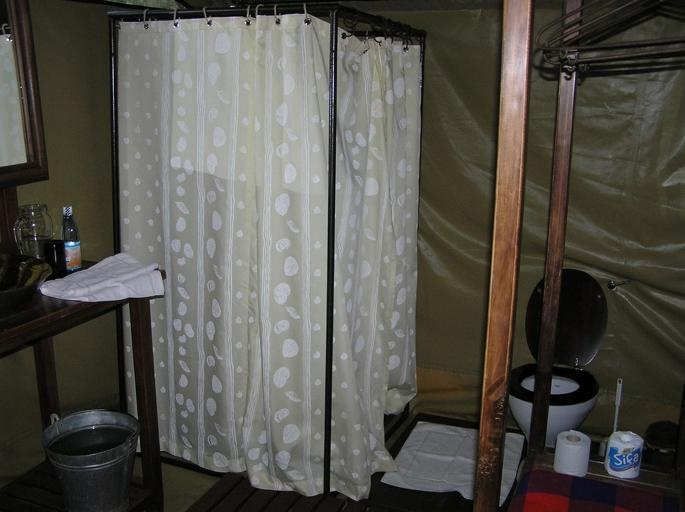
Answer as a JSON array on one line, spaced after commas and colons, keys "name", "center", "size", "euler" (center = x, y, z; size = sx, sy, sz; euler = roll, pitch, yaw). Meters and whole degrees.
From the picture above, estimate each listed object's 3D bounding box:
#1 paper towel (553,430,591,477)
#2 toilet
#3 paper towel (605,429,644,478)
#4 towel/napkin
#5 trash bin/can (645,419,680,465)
[{"name": "paper towel", "center": [1.003, 0.880, 2.630], "size": [0.152, 0.152, 0.254], "euler": [13, 20, 38]}, {"name": "toilet", "center": [1.174, 0.570, 3.282], "size": [0.460, 0.910, 0.558], "euler": [8, 16, 26]}, {"name": "paper towel", "center": [1.230, 0.868, 2.590], "size": [0.174, 0.176, 0.136], "euler": [3, 15, 7]}, {"name": "towel/napkin", "center": [-0.987, 0.131, 2.522], "size": [0.363, 0.142, 0.414], "euler": [10, 18, 29]}, {"name": "trash bin/can", "center": [1.693, 0.997, 3.167], "size": [0.185, 0.236, 0.201], "euler": [2, 12, 28]}]
